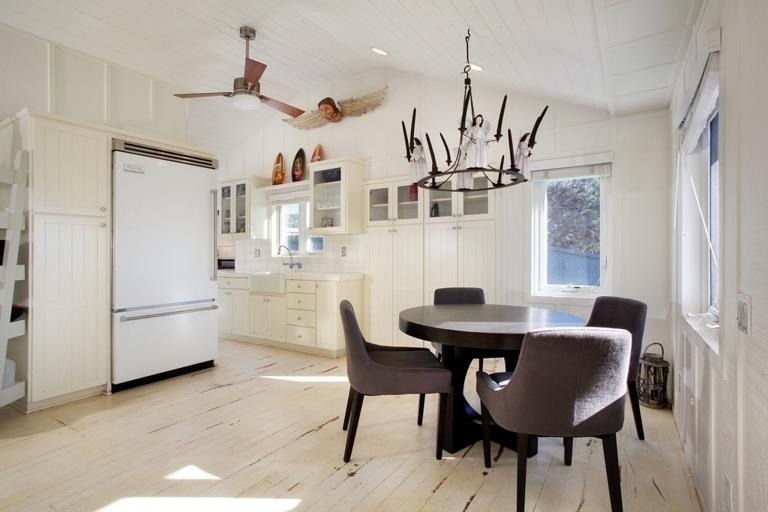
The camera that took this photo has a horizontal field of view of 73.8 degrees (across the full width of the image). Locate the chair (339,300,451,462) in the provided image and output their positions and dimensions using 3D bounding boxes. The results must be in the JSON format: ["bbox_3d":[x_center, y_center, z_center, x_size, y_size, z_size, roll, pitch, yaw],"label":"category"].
[{"bbox_3d":[0.077,0.945,4.246,0.872,1.060,0.793,1,4,-2],"label":"chair"}]

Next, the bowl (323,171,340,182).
[{"bbox_3d":[-0.660,-1.035,6.565,0.163,0.081,0.161,-1,-10,0],"label":"bowl"}]

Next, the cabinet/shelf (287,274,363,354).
[{"bbox_3d":[-0.742,0.693,6.575,0.930,0.940,0.714,0,3,35],"label":"cabinet/shelf"}]

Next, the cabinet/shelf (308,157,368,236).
[{"bbox_3d":[-0.587,-0.767,6.574,0.740,0.936,0.376,1,1,-2],"label":"cabinet/shelf"}]

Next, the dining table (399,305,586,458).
[{"bbox_3d":[0.802,0.875,4.015,1.197,0.861,1.309,-3,-4,43],"label":"dining table"}]

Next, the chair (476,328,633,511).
[{"bbox_3d":[0.886,1.047,3.875,1.028,1.369,1.226,1,-5,-2],"label":"chair"}]

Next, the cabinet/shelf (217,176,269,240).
[{"bbox_3d":[-2.090,-0.702,7.601,0.889,0.869,0.340,1,1,42],"label":"cabinet/shelf"}]

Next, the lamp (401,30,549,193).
[{"bbox_3d":[0.757,-1.249,4.323,1.185,1.306,1.169,-5,-2,27],"label":"lamp"}]

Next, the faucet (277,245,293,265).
[{"bbox_3d":[-1.369,-0.022,7.219,0.148,0.305,0.365,0,1,-31],"label":"faucet"}]

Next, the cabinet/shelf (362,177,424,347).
[{"bbox_3d":[0.095,-0.106,6.518,0.696,2.049,0.261,-1,42,-1],"label":"cabinet/shelf"}]
